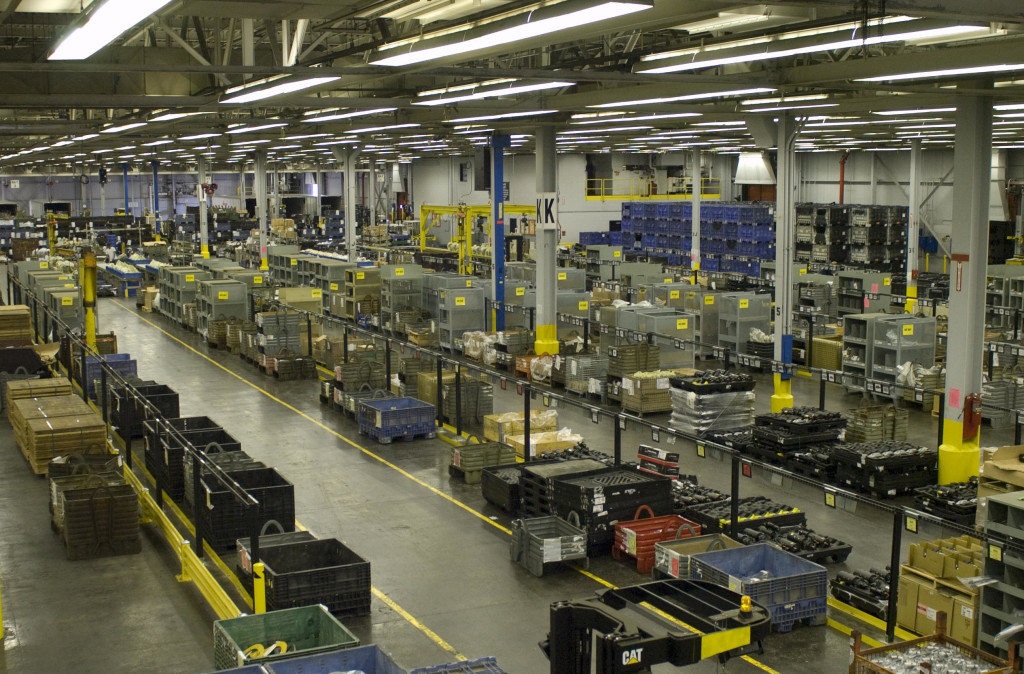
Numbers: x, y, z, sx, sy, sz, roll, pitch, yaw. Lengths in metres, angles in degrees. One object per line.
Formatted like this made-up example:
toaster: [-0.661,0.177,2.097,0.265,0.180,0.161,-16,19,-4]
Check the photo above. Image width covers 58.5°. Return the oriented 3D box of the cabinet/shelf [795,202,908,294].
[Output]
cabinet/shelf: [12.829,-3.521,35.000,3.781,1.895,3.741,4,6,38]
